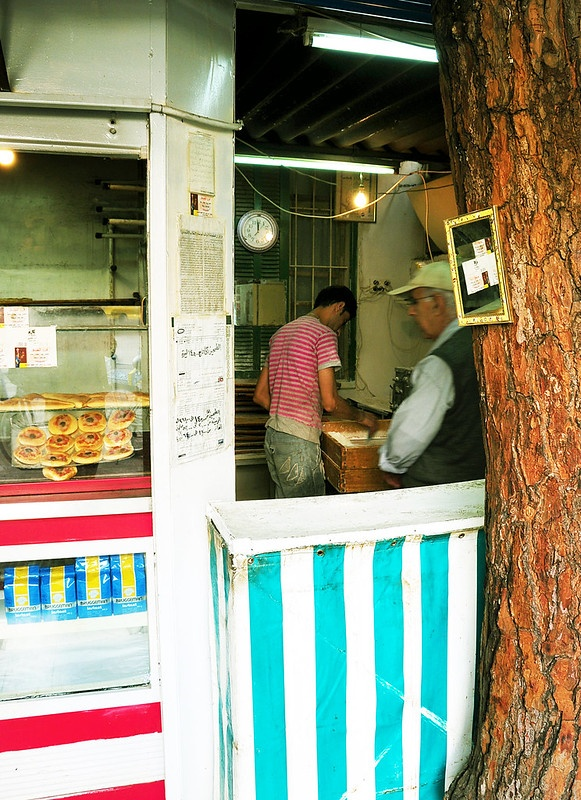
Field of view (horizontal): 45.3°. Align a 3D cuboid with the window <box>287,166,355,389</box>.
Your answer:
[{"bbox_3d":[0.220,-1.231,6.566,0.711,2.093,0.143,2,-14,-11],"label":"window"}]

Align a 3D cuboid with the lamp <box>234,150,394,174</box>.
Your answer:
[{"bbox_3d":[0.200,-1.673,4.878,1.149,0.121,0.318,-4,3,-7],"label":"lamp"}]

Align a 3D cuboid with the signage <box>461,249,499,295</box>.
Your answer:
[{"bbox_3d":[0.453,-0.308,1.653,0.011,0.114,0.114,-9,8,-24],"label":"signage"}]

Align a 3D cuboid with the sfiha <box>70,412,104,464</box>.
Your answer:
[{"bbox_3d":[-0.719,0.134,2.496,0.091,0.192,0.042,4,-25,-7],"label":"sfiha"}]

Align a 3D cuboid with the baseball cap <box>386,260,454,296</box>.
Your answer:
[{"bbox_3d":[0.512,-0.464,2.631,0.193,0.104,0.130,2,8,7],"label":"baseball cap"}]

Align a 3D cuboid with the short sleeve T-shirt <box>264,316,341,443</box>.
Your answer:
[{"bbox_3d":[0.054,-0.102,3.454,0.416,0.641,0.269,-3,3,15],"label":"short sleeve T-shirt"}]

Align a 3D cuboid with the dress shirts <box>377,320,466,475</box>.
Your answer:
[{"bbox_3d":[0.448,0.066,2.567,0.148,0.457,0.334,-5,3,-25],"label":"dress shirts"}]

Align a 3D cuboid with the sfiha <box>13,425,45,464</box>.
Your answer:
[{"bbox_3d":[-0.903,0.161,2.419,0.107,0.098,0.111,-4,3,-9],"label":"sfiha"}]

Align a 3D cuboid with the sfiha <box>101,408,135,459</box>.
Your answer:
[{"bbox_3d":[-0.609,0.122,2.479,0.116,0.115,0.114,-4,3,-14],"label":"sfiha"}]
